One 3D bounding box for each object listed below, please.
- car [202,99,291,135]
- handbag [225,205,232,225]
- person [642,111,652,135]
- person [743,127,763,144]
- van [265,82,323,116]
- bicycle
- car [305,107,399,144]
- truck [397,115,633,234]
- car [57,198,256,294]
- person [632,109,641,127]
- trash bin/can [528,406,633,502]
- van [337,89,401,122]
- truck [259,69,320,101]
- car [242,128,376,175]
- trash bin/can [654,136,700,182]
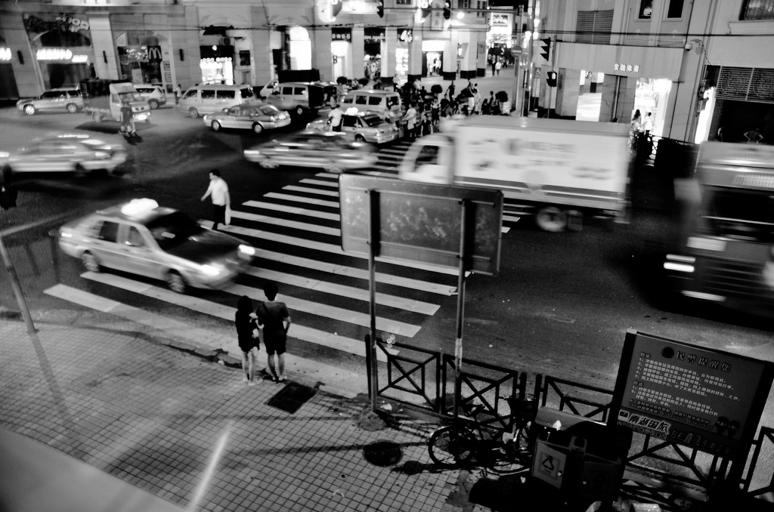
[{"bbox_3d":[-8.029,-7.660,32.122,4.390,1.265,1.900,7,13,13],"label":"car"},{"bbox_3d":[-5.155,-1.286,18.401,0.259,0.774,0.321,4,3,-11],"label":"handbag"},{"bbox_3d":[12.866,-6.610,27.961,0.467,0.912,1.510,6,22,21],"label":"person"},{"bbox_3d":[15.079,-4.913,23.290,0.626,0.460,1.134,7,22,22],"label":"person"},{"bbox_3d":[-6.313,-10.290,37.064,3.295,1.692,1.847,7,22,13],"label":"van"},{"bbox_3d":[1.742,3.384,10.818,2.320,1.319,1.050,9,-25,-22],"label":"bicycle"},{"bbox_3d":[-2.250,-6.120,28.242,3.856,1.099,1.767,5,1,2],"label":"car"},{"bbox_3d":[4.311,-2.590,18.165,6.926,3.046,2.225,11,22,34],"label":"truck"},{"bbox_3d":[-6.389,-0.305,15.910,4.663,2.121,1.520,5,22,18],"label":"car"},{"bbox_3d":[12.816,-7.059,29.065,0.458,0.745,1.432,6,22,22],"label":"person"},{"bbox_3d":[3.213,3.330,9.421,1.519,1.354,0.858,11,-3,22],"label":"trash bin/can"},{"bbox_3d":[-1.311,-8.529,32.473,2.860,1.397,1.595,10,20,8],"label":"van"},{"bbox_3d":[-7.262,-12.240,42.540,5.182,2.516,2.853,2,34,1],"label":"truck"},{"bbox_3d":[-3.323,-4.731,26.532,6.516,1.478,2.882,8,12,23],"label":"car"},{"bbox_3d":[12.357,-3.966,25.094,2.020,1.911,2.003,15,36,31],"label":"trash bin/can"}]
